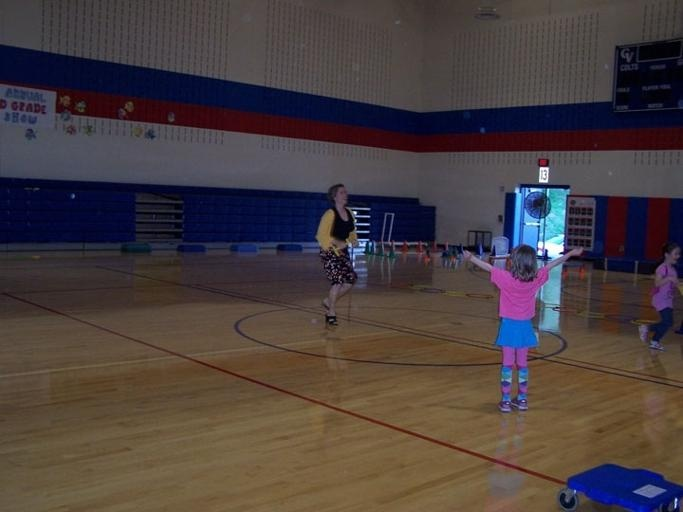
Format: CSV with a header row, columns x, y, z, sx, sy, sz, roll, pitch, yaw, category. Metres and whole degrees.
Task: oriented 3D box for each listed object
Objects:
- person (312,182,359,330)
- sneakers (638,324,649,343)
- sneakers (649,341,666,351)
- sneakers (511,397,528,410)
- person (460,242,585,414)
x,y,z,sx,sy,sz,roll,pitch,yaw,category
-0.057,-0.037,6.246,0.467,1.633,0.852,1,5,-1,person
3.311,0.861,5.716,0.068,0.178,0.064,-2,35,27,sneakers
3.326,0.945,5.453,0.203,0.093,0.068,3,9,-26,sneakers
1.254,1.036,3.662,0.055,0.061,0.137,1,6,2,sneakers
1.246,0.498,3.714,0.413,1.167,0.597,5,6,31,person
